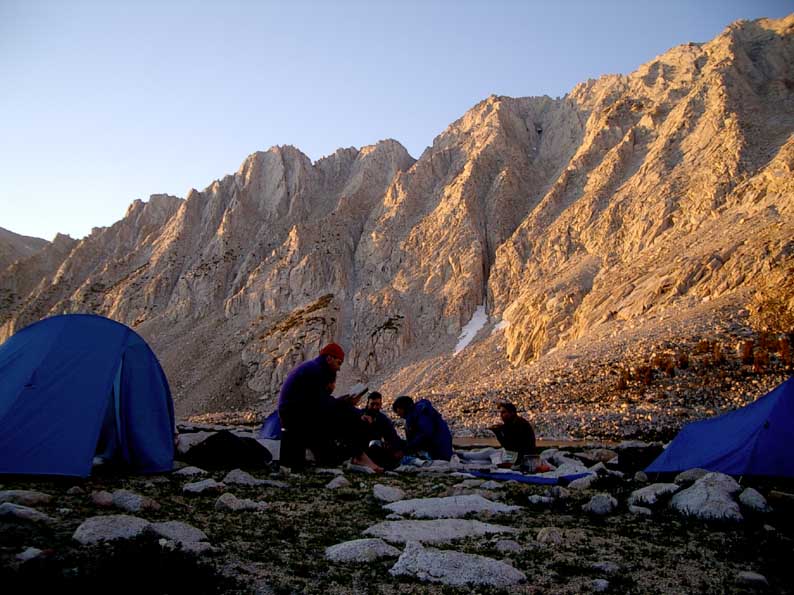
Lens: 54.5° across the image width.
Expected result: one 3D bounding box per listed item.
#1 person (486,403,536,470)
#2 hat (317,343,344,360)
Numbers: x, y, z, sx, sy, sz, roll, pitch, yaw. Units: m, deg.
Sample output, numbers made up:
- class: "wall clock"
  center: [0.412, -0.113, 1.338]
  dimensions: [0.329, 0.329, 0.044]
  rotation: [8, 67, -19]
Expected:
- class: "person"
  center: [2.326, 2.894, 15.358]
  dimensions: [0.838, 1.644, 0.687]
  rotation: [4, 10, 3]
- class: "hat"
  center: [-1.195, 1.007, 14.495]
  dimensions: [0.401, 0.310, 0.292]
  rotation: [6, 2, -21]
